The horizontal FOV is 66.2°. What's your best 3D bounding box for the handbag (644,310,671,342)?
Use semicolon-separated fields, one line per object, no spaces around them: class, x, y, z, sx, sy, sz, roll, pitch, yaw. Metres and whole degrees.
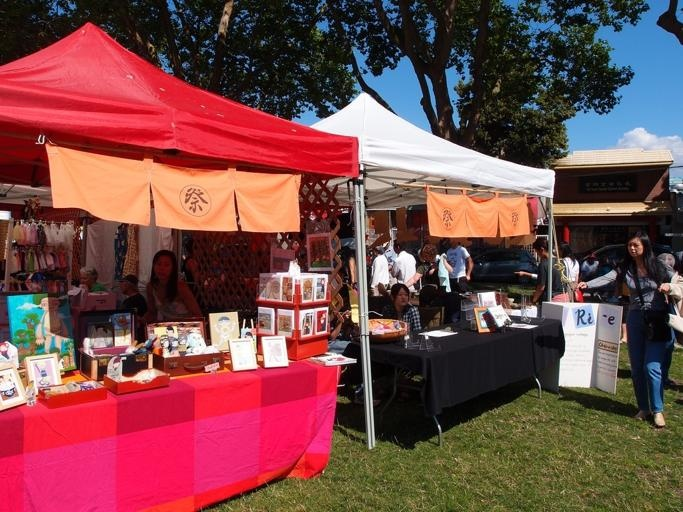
handbag;3.092;0.684;5.120;0.258;0.348;0.171;3;-8;-27

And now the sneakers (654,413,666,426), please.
sneakers;3.182;1.661;5.269;0.064;0.087;0.212;-34;-51;29

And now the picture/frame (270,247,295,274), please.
picture/frame;-0.560;0.059;5.020;0.204;0.236;0.024;5;-3;45

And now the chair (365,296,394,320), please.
chair;0.508;0.637;6.600;0.257;0.363;0.291;3;6;20

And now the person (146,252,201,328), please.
person;-1.650;0.341;5.059;0.597;0.796;0.523;1;10;-6

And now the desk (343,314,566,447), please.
desk;1.281;1.193;5.894;3.002;1.028;1.446;-6;10;-41

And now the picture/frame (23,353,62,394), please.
picture/frame;-2.057;0.821;3.630;0.206;0.245;0.070;1;-32;-47

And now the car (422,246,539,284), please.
car;5.383;0.354;17.740;2.151;1.090;1.171;3;-1;7

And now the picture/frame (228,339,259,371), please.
picture/frame;-0.780;0.795;4.158;0.213;0.254;0.020;7;-31;-39

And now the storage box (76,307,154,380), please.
storage box;-1.734;0.687;4.007;0.368;0.456;0.466;2;0;36

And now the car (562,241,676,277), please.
car;4.765;0.074;9.116;1.989;0.799;0.988;-1;0;9

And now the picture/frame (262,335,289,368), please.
picture/frame;-0.536;0.784;4.238;0.217;0.245;0.077;2;-36;-31

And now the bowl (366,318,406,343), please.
bowl;0.462;0.746;5.251;0.371;0.154;0.460;1;8;1

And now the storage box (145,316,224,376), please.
storage box;-1.210;0.715;4.137;0.590;0.325;0.631;5;2;-8
